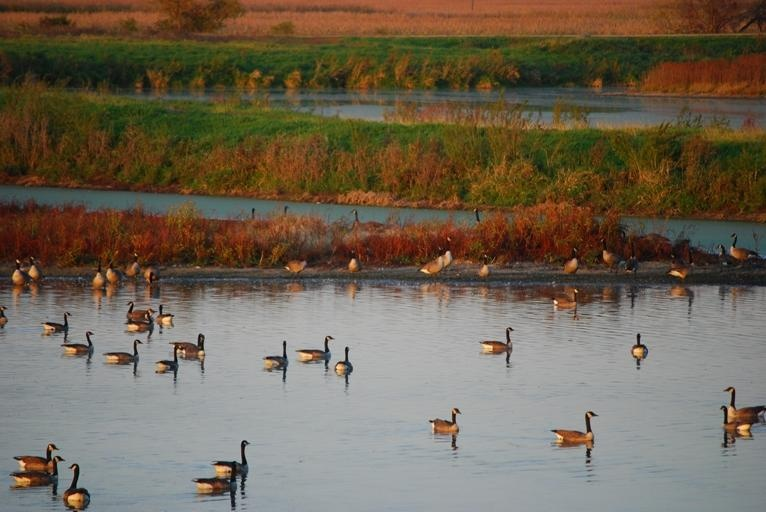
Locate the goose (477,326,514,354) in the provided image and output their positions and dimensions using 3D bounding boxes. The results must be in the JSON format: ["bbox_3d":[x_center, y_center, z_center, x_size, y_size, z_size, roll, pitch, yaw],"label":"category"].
[{"bbox_3d":[4.658,3.604,63.575,1.763,1.575,0.649,-2,2,-7],"label":"goose"}]

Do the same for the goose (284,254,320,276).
[{"bbox_3d":[-3.634,0.441,71.607,1.715,0.722,0.574,-22,0,-30],"label":"goose"}]

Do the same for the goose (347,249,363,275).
[{"bbox_3d":[-1.266,0.258,71.495,0.669,1.152,2.005,0,-5,-1],"label":"goose"}]

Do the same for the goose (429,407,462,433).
[{"bbox_3d":[2.464,6.377,58.058,1.497,1.346,0.564,0,-2,-3],"label":"goose"}]

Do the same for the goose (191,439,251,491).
[{"bbox_3d":[-5.936,7.791,57.013,2.105,1.684,2.171,2,-1,-4],"label":"goose"}]

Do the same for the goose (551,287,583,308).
[{"bbox_3d":[8.181,1.950,68.109,1.201,0.951,2.112,-1,-6,6],"label":"goose"}]

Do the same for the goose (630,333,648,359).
[{"bbox_3d":[10.536,3.718,62.626,0.589,1.061,0.856,-1,-40,11],"label":"goose"}]
